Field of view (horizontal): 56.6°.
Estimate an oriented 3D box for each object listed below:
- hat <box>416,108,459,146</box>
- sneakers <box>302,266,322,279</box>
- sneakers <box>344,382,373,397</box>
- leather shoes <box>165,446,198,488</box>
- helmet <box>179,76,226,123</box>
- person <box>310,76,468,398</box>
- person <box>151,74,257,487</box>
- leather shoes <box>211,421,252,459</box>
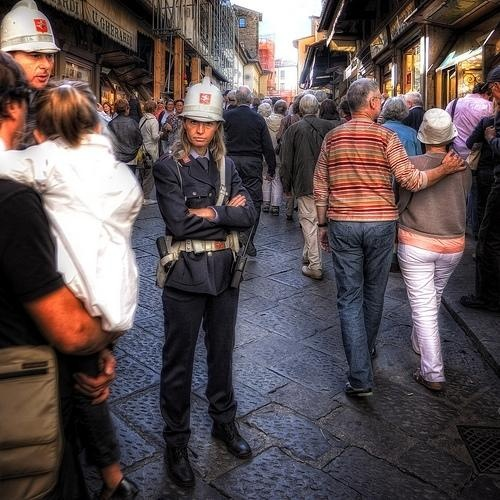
[{"bbox_3d":[1.322,-0.852,3.243,0.226,0.150,0.288,-2,41,11],"label":"hat"},{"bbox_3d":[0.783,0.271,5.859,0.112,0.134,0.284,-12,21,-27],"label":"sneakers"},{"bbox_3d":[0.744,0.940,3.151,0.179,0.090,0.079,7,9,36],"label":"sneakers"},{"bbox_3d":[-0.331,1.056,2.257,0.081,0.103,0.241,1,10,-20],"label":"leather shoes"},{"bbox_3d":[-0.242,-0.792,2.444,0.248,0.229,0.343,5,11,-9],"label":"helmet"},{"bbox_3d":[0.816,0.030,3.234,0.935,1.830,0.669,7,13,22],"label":"person"},{"bbox_3d":[-0.236,0.114,2.356,0.561,1.954,0.738,7,13,21],"label":"person"},{"bbox_3d":[-0.104,0.997,2.542,0.099,0.127,0.294,-17,25,-34],"label":"leather shoes"}]
